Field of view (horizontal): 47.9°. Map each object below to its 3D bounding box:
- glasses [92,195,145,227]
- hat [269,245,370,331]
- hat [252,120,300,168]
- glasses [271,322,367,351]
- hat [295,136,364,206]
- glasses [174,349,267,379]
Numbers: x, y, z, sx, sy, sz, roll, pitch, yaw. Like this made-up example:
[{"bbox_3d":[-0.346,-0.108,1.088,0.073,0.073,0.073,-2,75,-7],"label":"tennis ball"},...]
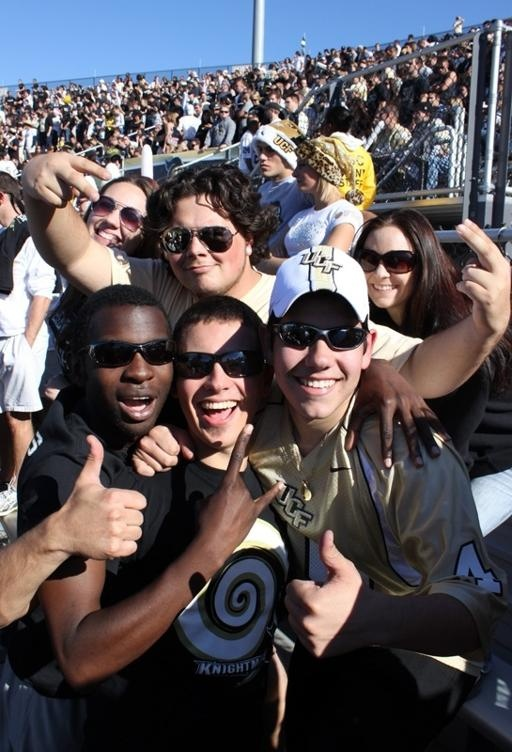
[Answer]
[{"bbox_3d":[-0.845,-1.002,3.576,0.438,0.199,0.167,9,20,21],"label":"glasses"},{"bbox_3d":[0.202,-0.283,1.855,0.306,0.239,0.248,2,18,0],"label":"hat"},{"bbox_3d":[0.180,-2.076,5.264,0.385,0.369,0.265,2,18,-1],"label":"hat"},{"bbox_3d":[0.188,-0.123,1.756,0.285,0.075,0.118,4,18,6],"label":"glasses"},{"bbox_3d":[0.531,-1.547,4.363,0.453,0.480,0.556,8,19,15],"label":"hat"},{"bbox_3d":[-0.126,-0.036,1.932,0.303,0.098,0.101,1,18,-3],"label":"glasses"}]
